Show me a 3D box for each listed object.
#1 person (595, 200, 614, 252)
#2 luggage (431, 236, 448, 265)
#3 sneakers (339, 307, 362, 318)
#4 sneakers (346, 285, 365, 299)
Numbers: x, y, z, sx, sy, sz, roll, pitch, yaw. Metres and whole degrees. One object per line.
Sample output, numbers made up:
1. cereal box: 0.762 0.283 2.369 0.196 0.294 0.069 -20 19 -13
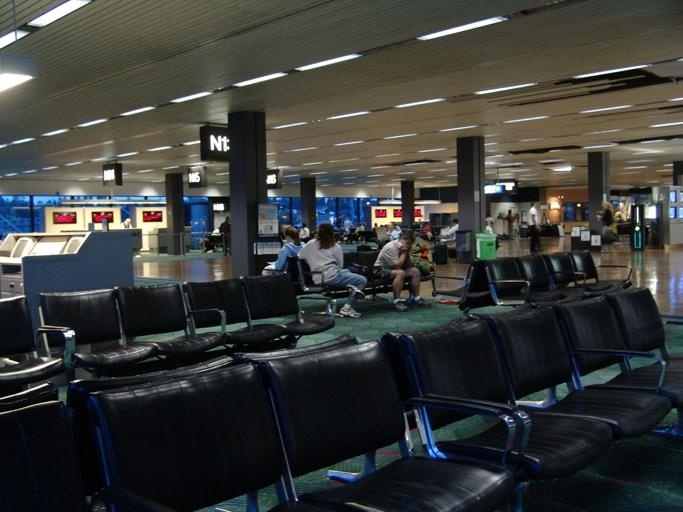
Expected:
1. person: 9.245 -1.215 17.173 0.555 1.472 1.155 0 -4 30
2. luggage: 3.008 -0.167 15.157 0.844 0.777 1.309 1 2 6
3. sneakers: 0.102 0.812 7.063 0.378 0.111 0.115 3 1 1
4. sneakers: 0.182 0.503 6.799 0.287 0.102 0.169 4 1 0
